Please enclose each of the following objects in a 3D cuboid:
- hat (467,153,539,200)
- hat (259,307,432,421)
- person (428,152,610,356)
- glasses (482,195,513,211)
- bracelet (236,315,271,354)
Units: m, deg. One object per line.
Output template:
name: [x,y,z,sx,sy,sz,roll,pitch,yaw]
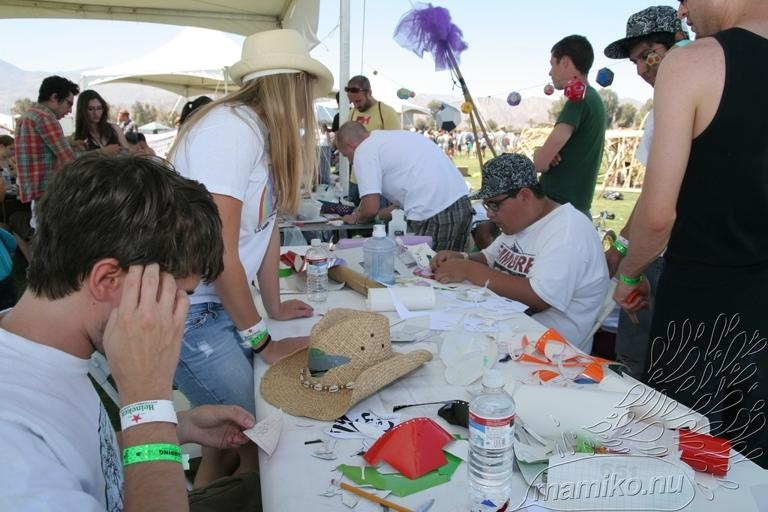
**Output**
hat: [0.607,-0.420,2.691,0.293,0.167,0.211,-8,11,-8]
hat: [-0.127,0.265,1.708,0.452,0.174,0.334,-18,14,-38]
person: [0.762,-0.126,3.318,1.020,1.651,1.005,0,15,8]
glasses: [0.604,-0.280,2.736,0.090,0.026,0.087,-30,7,-16]
bracelet: [-0.477,0.301,2.002,0.129,0.103,0.122,-22,0,3]
